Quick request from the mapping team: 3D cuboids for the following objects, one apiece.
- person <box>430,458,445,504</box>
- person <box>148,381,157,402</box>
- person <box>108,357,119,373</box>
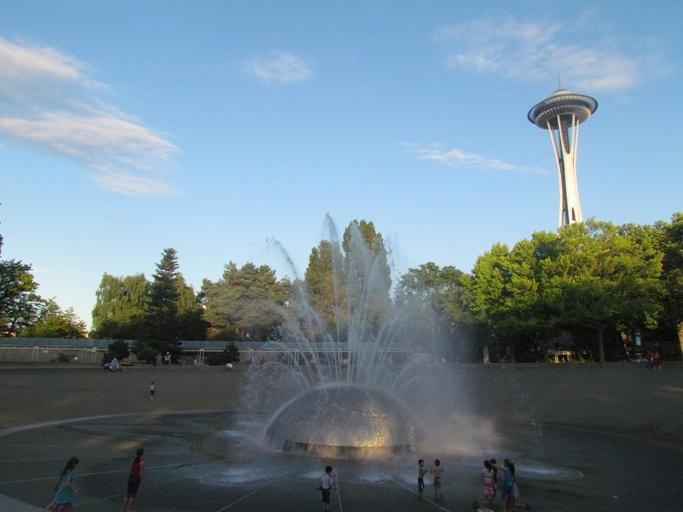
[{"bbox_3d":[3.136,7.218,17.780,0.340,1.208,1.269,-2,-12,9],"label":"person"},{"bbox_3d":[-11.740,8.335,33.851,0.394,1.002,3.036,4,-13,-18],"label":"person"},{"bbox_3d":[-17.691,8.544,42.582,0.683,0.933,1.980,5,-13,-22],"label":"person"}]
